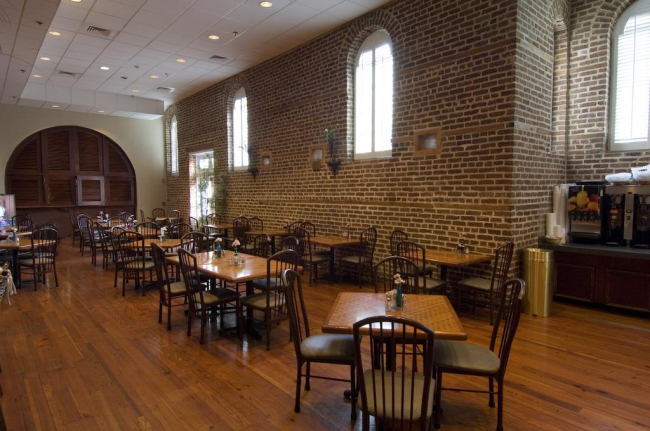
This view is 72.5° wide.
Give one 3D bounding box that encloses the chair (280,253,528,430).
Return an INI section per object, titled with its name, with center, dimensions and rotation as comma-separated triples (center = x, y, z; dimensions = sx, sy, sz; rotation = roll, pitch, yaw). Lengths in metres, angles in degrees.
[chair]
center = 1.087, 1.616, 5.571
dimensions = 2.056, 1.125, 1.948
rotation = 1, 1, 11
